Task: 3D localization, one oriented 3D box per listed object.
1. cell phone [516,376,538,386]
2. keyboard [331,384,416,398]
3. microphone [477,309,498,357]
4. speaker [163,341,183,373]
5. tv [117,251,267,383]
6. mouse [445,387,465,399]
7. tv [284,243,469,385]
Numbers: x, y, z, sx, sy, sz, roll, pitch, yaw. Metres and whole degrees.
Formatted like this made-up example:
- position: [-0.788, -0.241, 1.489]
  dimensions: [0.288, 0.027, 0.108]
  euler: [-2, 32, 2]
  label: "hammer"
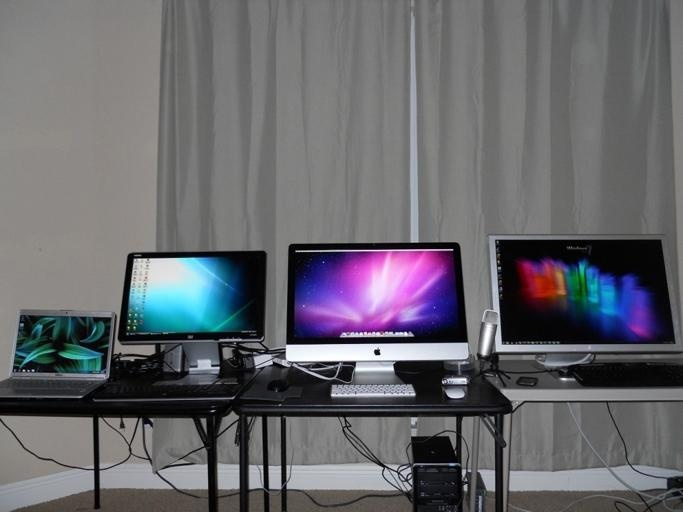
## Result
- position: [0.925, 0.626, 3.487]
  dimensions: [0.103, 0.056, 0.113]
  euler: [-5, -13, 15]
  label: "cell phone"
- position: [0.154, 0.650, 3.346]
  dimensions: [0.403, 0.069, 0.082]
  euler: [-2, -13, 3]
  label: "keyboard"
- position: [0.765, 0.406, 3.623]
  dimensions: [0.105, 0.245, 0.119]
  euler: [3, -13, -19]
  label: "microphone"
- position: [-0.853, 0.539, 3.683]
  dimensions: [0.122, 0.178, 0.042]
  euler: [3, -7, -1]
  label: "speaker"
- position: [-0.770, 0.315, 3.662]
  dimensions: [0.625, 0.511, 0.172]
  euler: [0, -4, 2]
  label: "tv"
- position: [0.541, 0.656, 3.328]
  dimensions: [0.100, 0.059, 0.084]
  euler: [-3, -13, 9]
  label: "mouse"
- position: [0.179, 0.291, 3.584]
  dimensions: [0.664, 0.515, 0.182]
  euler: [0, -3, 2]
  label: "tv"
